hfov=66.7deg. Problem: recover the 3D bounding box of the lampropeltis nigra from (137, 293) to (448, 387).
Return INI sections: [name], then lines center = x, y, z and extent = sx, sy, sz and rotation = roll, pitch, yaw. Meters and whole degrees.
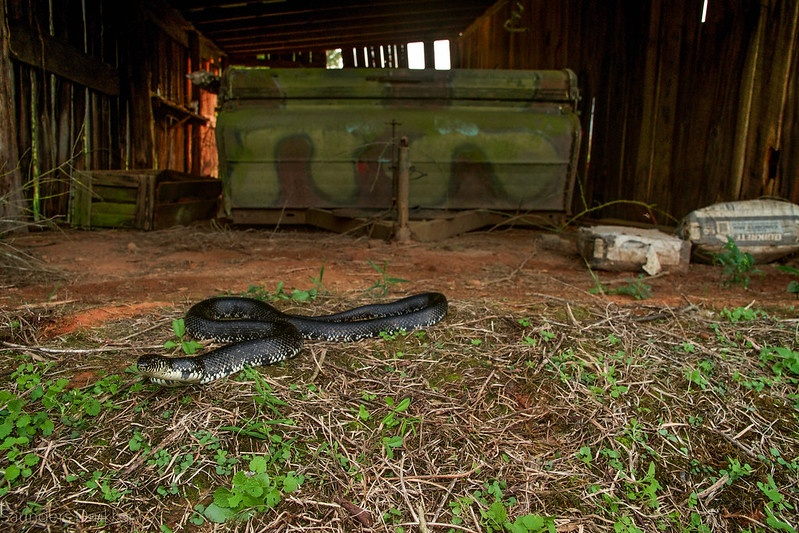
[lampropeltis nigra]
center = -0.872, 0.521, 5.136
extent = 2.512, 0.494, 1.010
rotation = -3, 9, -25
